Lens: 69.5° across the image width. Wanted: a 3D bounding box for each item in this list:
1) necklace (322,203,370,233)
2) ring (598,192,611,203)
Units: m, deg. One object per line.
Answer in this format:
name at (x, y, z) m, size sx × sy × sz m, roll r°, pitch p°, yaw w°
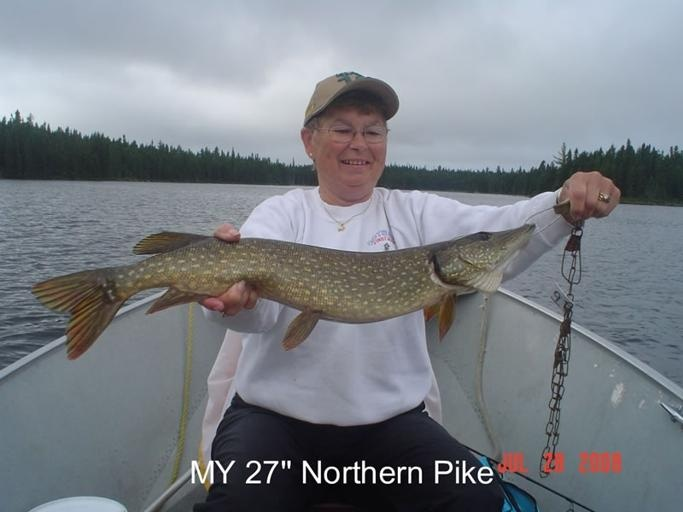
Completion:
necklace at (0.009, -0.277, 3.881) m, size 0.212 × 0.104 × 0.241 m, roll -2°, pitch 55°, yaw 14°
ring at (1.722, -0.376, 3.242) m, size 0.066 × 0.051 × 0.025 m, roll 41°, pitch -17°, yaw 10°
